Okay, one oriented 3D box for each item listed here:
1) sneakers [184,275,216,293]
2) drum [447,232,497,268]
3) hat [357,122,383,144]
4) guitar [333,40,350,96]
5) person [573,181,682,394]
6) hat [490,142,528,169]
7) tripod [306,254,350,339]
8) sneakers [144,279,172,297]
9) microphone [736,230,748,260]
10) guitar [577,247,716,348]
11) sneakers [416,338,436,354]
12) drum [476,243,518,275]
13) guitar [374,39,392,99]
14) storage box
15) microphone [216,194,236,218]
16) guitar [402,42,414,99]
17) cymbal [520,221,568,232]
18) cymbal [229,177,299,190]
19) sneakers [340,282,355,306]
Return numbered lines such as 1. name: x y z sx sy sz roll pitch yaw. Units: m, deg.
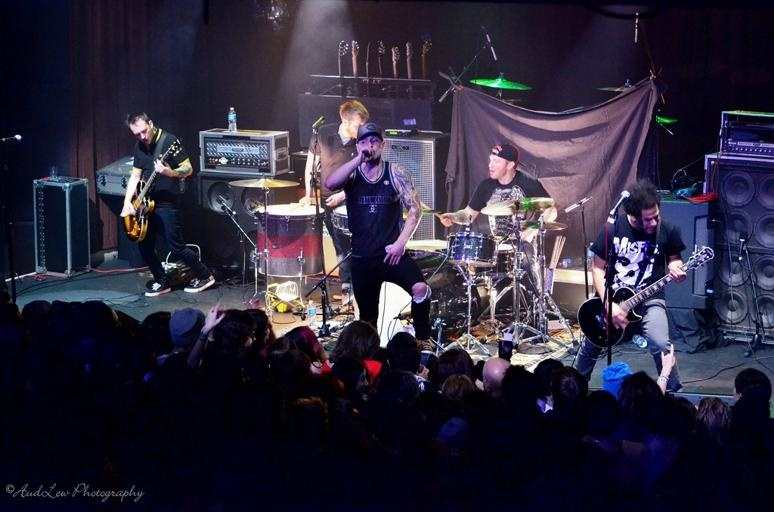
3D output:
1. sneakers: -2.947 0.422 8.951 0.497 0.188 0.210 -9 14 -22
2. drum: 1.060 -0.075 6.736 0.560 0.357 0.595 8 -5 1
3. hat: -0.169 -1.135 5.291 0.228 0.165 0.368 1 16 -2
4. guitar: -0.798 -3.407 10.271 0.250 1.139 0.851 -1 2 -4
5. person: 2.355 0.366 5.549 1.050 1.996 0.860 6 18 31
6. hat: 1.569 -1.327 7.516 0.465 0.360 0.344 -2 14 0
7. tripod: -0.809 0.541 7.767 0.794 1.294 0.313 -8 35 -10
8. sneakers: -3.538 0.506 8.786 0.193 0.160 0.332 0 1 7
9. microphone: 4.343 -0.108 6.970 0.119 0.406 0.048 0 3 31
10. guitar: 2.732 0.434 5.912 1.210 0.444 0.173 -35 -6 8
11. sneakers: 0.403 0.915 5.764 0.223 0.117 0.333 -5 6 4
12. drum: 1.371 0.040 6.949 0.368 0.277 0.349 0 -2 0
13. guitar: -0.116 -3.334 10.481 0.229 1.178 0.125 2 20 19
14. storage box: -5.475 -0.467 9.346 0.892 1.632 0.632 2 5 -5
15. microphone: -2.552 -0.810 9.015 0.101 0.374 0.146 -41 -7 -14
16. guitar: 0.350 -3.275 9.927 0.145 1.058 0.169 -3 -10 25
17. cymbal: 1.892 -0.361 6.962 0.624 0.102 0.364 -1 2 -7
18. cymbal: -1.874 -1.076 8.525 0.834 0.277 1.131 -2 3 -23
19. sneakers: -0.588 0.553 8.299 0.186 0.237 0.544 -32 -7 -13
